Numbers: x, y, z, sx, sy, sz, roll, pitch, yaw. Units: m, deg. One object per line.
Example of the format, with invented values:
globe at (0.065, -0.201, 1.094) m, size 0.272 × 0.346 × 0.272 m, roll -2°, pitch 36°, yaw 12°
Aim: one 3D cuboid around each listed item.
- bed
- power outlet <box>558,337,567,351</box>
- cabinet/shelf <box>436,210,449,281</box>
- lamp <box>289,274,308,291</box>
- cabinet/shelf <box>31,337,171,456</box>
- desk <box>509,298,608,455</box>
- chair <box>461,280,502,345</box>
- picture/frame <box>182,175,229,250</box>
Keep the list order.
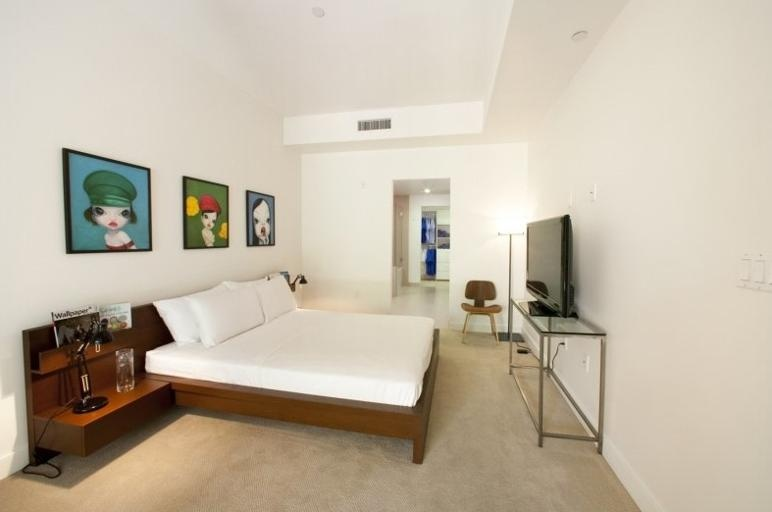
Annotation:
bed at (-0.809, 0.957, 4.826) m, size 1.792 × 0.844 × 1.744 m, roll 1°, pitch 4°, yaw 12°
power outlet at (1.744, 0.883, 5.163) m, size 0.112 × 0.177 × 0.050 m, roll 3°, pitch 2°, yaw 43°
cabinet/shelf at (1.200, -0.249, 11.185) m, size 0.266 × 1.520 × 0.251 m, roll -2°, pitch 8°, yaw 1°
lamp at (-1.182, 0.351, 6.882) m, size 0.256 × 0.277 × 0.172 m, roll 1°, pitch 4°, yaw 13°
cabinet/shelf at (-2.431, 1.209, 4.325) m, size 0.352 × 0.775 × 0.940 m, roll 0°, pitch 4°, yaw 10°
desk at (1.609, 1.056, 5.222) m, size 0.538 × 1.073 × 1.780 m, roll 0°, pitch 6°, yaw 3°
chair at (1.167, 0.666, 6.547) m, size 0.498 × 0.702 × 0.520 m, roll 1°, pitch 2°, yaw -14°
picture/frame at (-1.923, -0.470, 5.431) m, size 0.052 × 0.866 × 0.738 m, roll 4°, pitch 6°, yaw 21°
